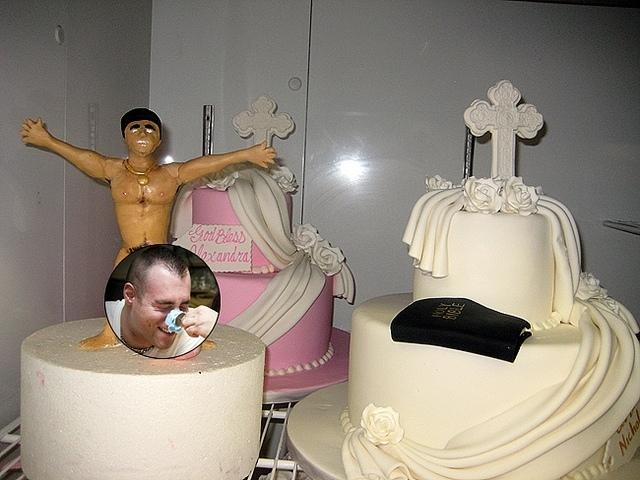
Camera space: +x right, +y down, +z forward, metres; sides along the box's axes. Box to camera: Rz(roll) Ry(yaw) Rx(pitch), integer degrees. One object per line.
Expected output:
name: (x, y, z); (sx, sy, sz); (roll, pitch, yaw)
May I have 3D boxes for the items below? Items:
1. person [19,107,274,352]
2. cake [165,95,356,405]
person: (-0.511, -0.040, 1.618); (0.731, 0.703, 0.186); (-1, 4, -6)
cake: (-0.303, -0.044, 2.288); (1.030, 1.120, 1.064); (1, 12, -14)
